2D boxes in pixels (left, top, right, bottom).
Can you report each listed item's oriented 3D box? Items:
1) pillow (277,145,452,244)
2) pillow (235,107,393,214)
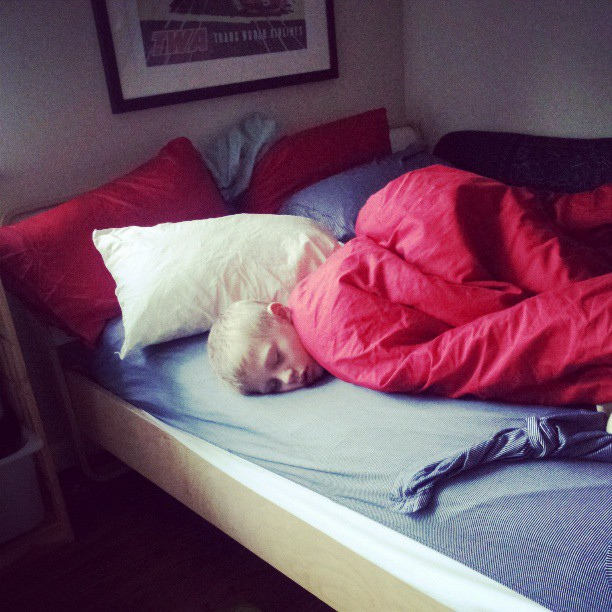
[{"bbox_3d":[0.207,-0.403,1.988,0.632,0.202,0.284,-22,29,-37],"label":"pillow"},{"bbox_3d":[0.048,-0.544,2.051,0.485,0.154,0.393,-33,34,6],"label":"pillow"}]
